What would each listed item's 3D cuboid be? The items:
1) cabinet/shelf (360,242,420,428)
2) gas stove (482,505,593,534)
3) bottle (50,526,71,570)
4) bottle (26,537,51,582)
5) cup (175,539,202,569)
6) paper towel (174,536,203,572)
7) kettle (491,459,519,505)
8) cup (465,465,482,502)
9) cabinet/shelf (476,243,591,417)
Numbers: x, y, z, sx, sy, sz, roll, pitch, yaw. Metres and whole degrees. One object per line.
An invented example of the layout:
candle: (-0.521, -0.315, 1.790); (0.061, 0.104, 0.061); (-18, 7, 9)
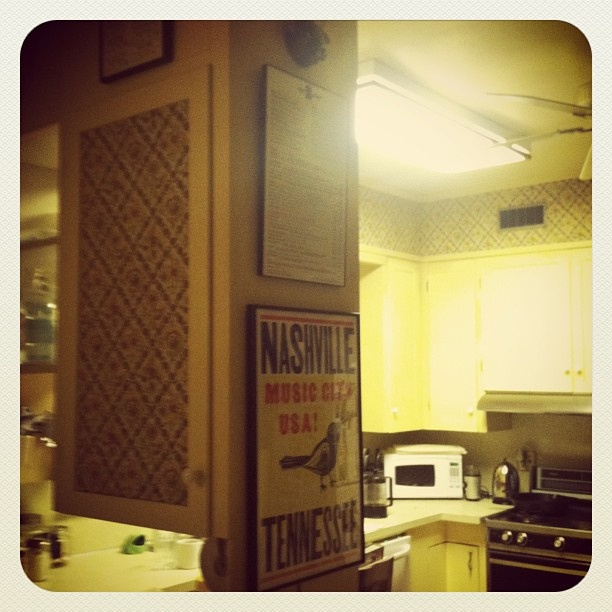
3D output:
cabinet/shelf: (0.305, 0.145, 2.403); (0.203, 0.710, 0.439); (-6, -15, 36)
gas stove: (0.803, 0.739, 2.045); (0.318, 0.062, 0.349); (-4, -15, 27)
bottle: (-0.421, 0.409, 1.009); (0.028, 0.061, 0.057); (11, -15, -32)
bottle: (-0.450, 0.428, 0.992); (0.041, 0.100, 0.010); (12, -51, -34)
cup: (-0.176, 0.371, 0.886); (0.042, 0.043, 0.059); (0, -8, -1)
paper towel: (-0.177, 0.373, 0.887); (0.042, 0.046, 0.063); (0, -8, -2)
kettle: (0.798, 0.700, 2.370); (0.107, 0.166, 0.189); (-1, -13, 17)
cup: (0.675, 0.722, 2.420); (0.068, 0.130, 0.191); (0, -13, 16)
cabinet/shelf: (0.901, 0.043, 2.333); (0.416, 0.646, 0.327); (-6, 19, 9)
